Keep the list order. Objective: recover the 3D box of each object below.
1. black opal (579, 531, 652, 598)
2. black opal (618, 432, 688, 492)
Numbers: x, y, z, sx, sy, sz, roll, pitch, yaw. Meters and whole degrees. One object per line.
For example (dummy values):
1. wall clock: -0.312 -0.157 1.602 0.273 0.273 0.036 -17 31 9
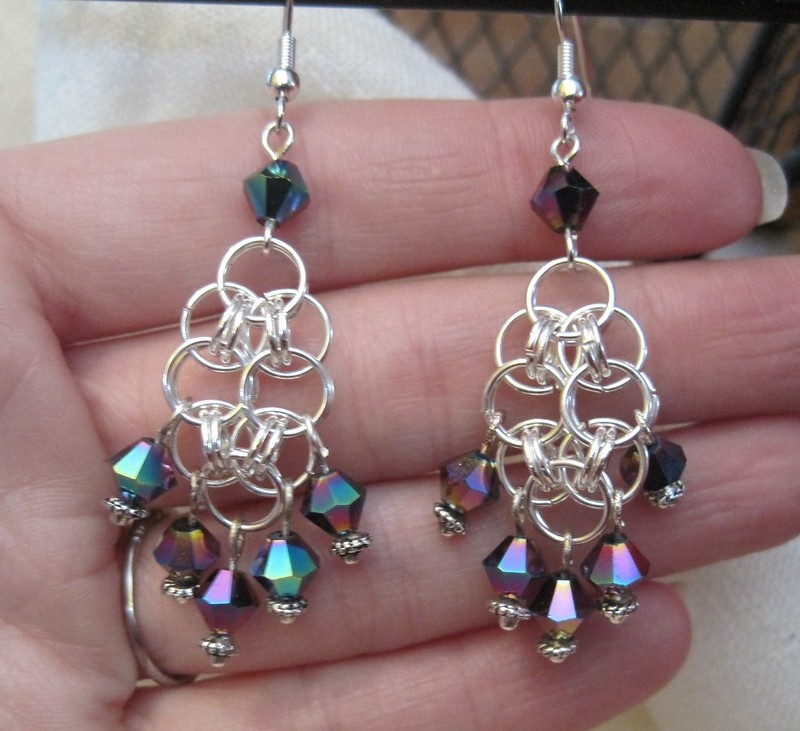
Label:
1. black opal: 0.503 0.467 2.206 0.132 0.112 0.140 0 1 11
2. black opal: 0.623 0.241 2.320 0.124 0.106 0.141 -24 6 18
